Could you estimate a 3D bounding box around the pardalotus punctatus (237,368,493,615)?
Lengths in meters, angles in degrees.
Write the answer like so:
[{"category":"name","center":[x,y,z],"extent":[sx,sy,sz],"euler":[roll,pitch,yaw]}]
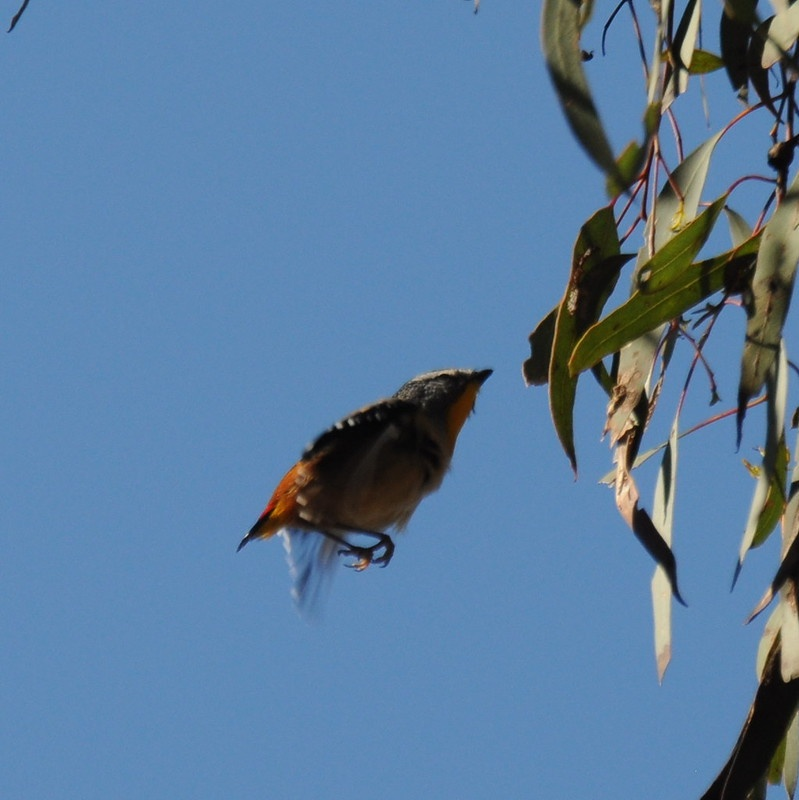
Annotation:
[{"category":"pardalotus punctatus","center":[-0.061,0.171,3.325],"extent":[0.394,0.357,0.348],"euler":[-11,-32,6]}]
